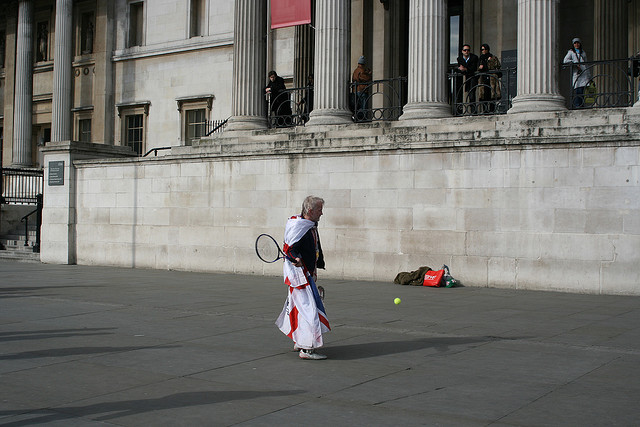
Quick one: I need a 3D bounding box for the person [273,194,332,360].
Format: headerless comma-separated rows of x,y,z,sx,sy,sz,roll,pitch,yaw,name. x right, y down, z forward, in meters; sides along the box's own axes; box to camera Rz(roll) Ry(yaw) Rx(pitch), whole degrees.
-0.319,1.302,19.052,0.990,3.105,1.217,0,13,-2,person

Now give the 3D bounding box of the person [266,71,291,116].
-1.405,-4.045,31.194,0.818,1.402,1.758,0,13,-2,person

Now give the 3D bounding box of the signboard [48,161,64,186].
-9.283,-1.427,32.687,0.864,1.155,0.121,1,0,33,signboard

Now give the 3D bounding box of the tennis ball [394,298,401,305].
1.910,2.171,22.937,0.145,0.145,0.145,-15,18,5,tennis ball
